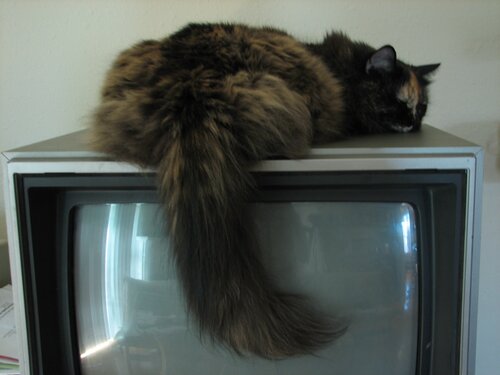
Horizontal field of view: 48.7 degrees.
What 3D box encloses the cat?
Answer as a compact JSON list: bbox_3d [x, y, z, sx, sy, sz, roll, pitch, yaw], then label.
[{"bbox_3d":[0.021,-0.002,1.556,0.883,0.940,0.316,-1,-3,-24],"label":"cat"}]
